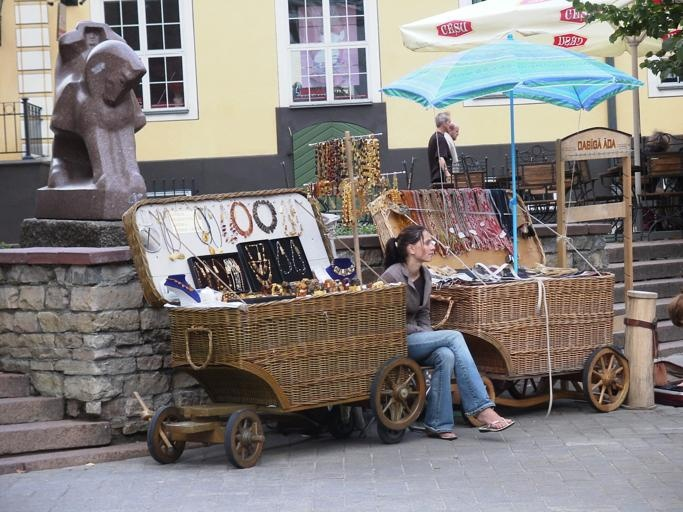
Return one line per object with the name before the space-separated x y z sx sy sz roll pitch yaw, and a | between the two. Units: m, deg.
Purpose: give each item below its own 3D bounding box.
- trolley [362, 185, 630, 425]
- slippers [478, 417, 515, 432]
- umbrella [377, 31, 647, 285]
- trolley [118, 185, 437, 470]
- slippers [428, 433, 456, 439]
trolley | 1.492 0.376 9.112 2.107 1.781 1.543 -3 11 -24
slippers | 1.242 1.378 7.928 0.233 0.063 0.142 -14 -4 42
umbrella | 1.688 -0.952 9.568 2.605 2.332 2.414 -4 3 -23
trolley | -0.592 0.498 8.091 1.597 1.807 2.367 7 9 38
slippers | 0.831 1.480 8.063 0.204 0.047 0.070 -3 -2 22
